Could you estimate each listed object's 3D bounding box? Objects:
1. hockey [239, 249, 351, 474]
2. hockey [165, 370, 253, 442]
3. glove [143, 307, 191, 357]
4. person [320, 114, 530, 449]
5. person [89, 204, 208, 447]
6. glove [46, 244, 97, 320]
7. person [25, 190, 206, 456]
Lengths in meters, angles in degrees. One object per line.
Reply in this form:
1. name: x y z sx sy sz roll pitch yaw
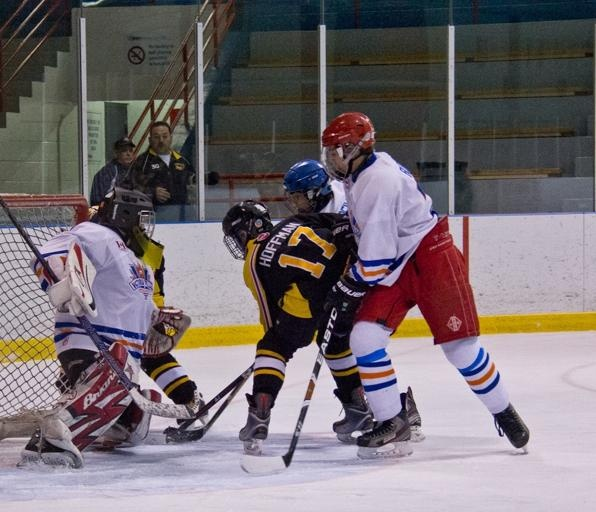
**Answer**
1. hockey: 0.017 0.581 4.215 0.209 0.983 0.049 14 -43 19
2. hockey: -0.411 0.705 4.822 0.096 0.385 0.129 3 -43 48
3. glove: -0.608 0.328 4.743 0.180 0.231 0.114 34 4 -13
4. person: 0.497 0.106 4.329 0.797 1.402 0.306 1 5 -4
5. person: -0.692 0.343 4.807 0.299 1.186 0.371 -29 -13 25
6. glove: -0.847 0.110 4.047 0.133 0.258 0.257 -13 -35 15
7. person: -0.854 0.323 4.715 0.782 1.459 1.170 -1 -9 4
